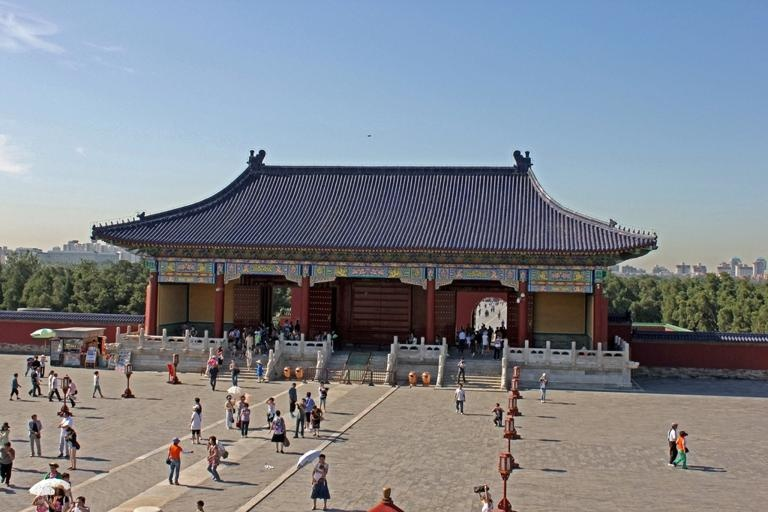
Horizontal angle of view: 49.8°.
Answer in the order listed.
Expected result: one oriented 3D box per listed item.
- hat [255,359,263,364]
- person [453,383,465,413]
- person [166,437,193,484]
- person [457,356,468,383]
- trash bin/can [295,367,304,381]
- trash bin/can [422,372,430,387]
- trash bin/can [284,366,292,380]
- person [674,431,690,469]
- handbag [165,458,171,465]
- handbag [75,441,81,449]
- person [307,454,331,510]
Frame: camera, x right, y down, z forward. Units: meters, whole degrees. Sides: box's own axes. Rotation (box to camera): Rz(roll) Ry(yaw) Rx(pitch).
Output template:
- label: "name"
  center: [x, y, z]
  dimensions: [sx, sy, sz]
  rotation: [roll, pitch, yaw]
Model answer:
- label: "hat"
  center: [-7.608, 6.394, 50.598]
  dimensions: [0.388, 0.188, 0.525]
  rotation: [4, -10, 0]
- label: "person"
  center: [3.792, 7.228, 42.273]
  dimensions: [0.436, 1.450, 1.360]
  rotation: [2, -7, 4]
- label: "person"
  center: [-8.457, 8.228, 33.429]
  dimensions: [0.540, 1.846, 1.273]
  rotation: [4, -7, -14]
- label: "person"
  center: [4.503, 6.681, 48.508]
  dimensions: [0.527, 1.461, 1.584]
  rotation: [2, -6, 3]
- label: "trash bin/can"
  center: [-5.063, 7.047, 49.473]
  dimensions: [0.727, 0.878, 0.529]
  rotation: [-1, -1, 9]
- label: "trash bin/can"
  center: [2.425, 7.199, 48.741]
  dimensions: [0.493, 0.773, 1.267]
  rotation: [2, -6, 4]
- label: "trash bin/can"
  center: [-5.755, 7.012, 49.777]
  dimensions: [0.498, 0.665, 0.664]
  rotation: [2, -1, 4]
- label: "person"
  center: [12.641, 8.264, 35.613]
  dimensions: [0.544, 1.538, 1.289]
  rotation: [-1, -7, 22]
- label: "handbag"
  center: [-8.656, 8.227, 33.354]
  dimensions: [0.136, 0.284, 0.671]
  rotation: [5, -7, -19]
- label: "handbag"
  center: [-12.692, 7.848, 34.470]
  dimensions: [0.139, 0.281, 0.534]
  rotation: [4, -7, -14]
- label: "person"
  center: [-2.440, 8.654, 31.884]
  dimensions: [0.627, 2.057, 0.652]
  rotation: [3, -7, -6]
